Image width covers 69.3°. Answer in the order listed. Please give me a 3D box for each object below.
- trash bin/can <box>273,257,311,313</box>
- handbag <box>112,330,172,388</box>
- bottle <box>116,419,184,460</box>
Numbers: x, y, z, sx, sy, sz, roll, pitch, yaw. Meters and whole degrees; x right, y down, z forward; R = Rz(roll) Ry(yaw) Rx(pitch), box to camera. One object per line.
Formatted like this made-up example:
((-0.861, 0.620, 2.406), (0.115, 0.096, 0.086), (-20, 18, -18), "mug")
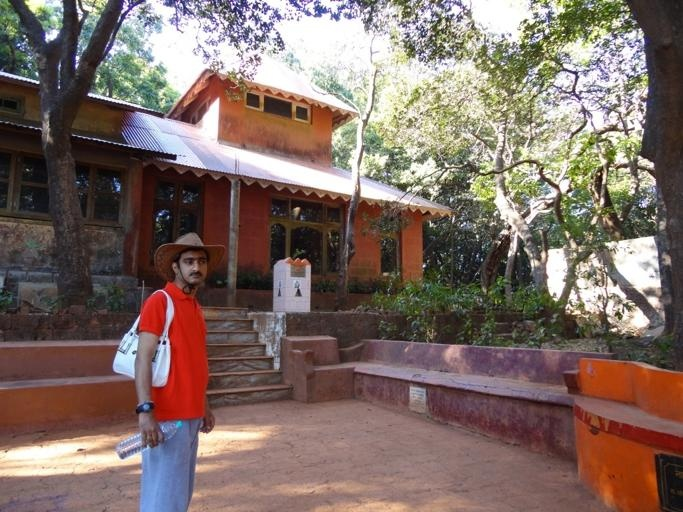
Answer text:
((-1.145, 0.727, 11.544), (0.737, 1.216, 0.727), (3, -8, -26), "trash bin/can")
((-1.737, 0.898, 4.308), (0.483, 0.502, 0.133), (1, 2, 3), "handbag")
((-1.651, 1.603, 4.219), (0.522, 0.348, 0.188), (1, 2, 1), "bottle")
